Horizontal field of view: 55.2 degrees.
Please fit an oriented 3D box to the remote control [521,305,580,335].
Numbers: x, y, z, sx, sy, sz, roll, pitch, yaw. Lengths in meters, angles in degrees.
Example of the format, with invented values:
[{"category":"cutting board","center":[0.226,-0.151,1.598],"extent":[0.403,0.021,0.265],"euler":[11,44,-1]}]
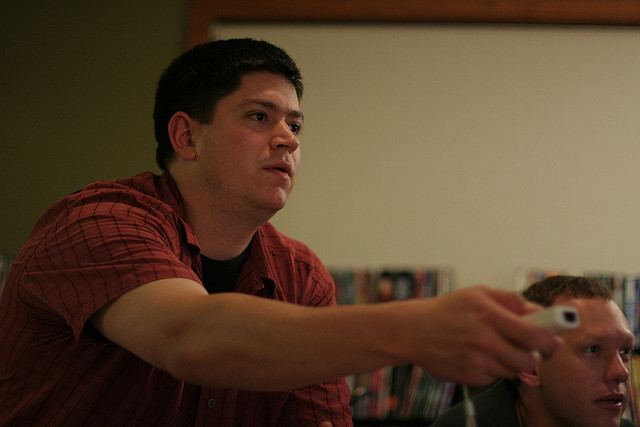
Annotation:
[{"category":"remote control","center":[0.496,0.215,1.283],"extent":[0.077,0.083,0.080],"euler":[-1,2,8]}]
